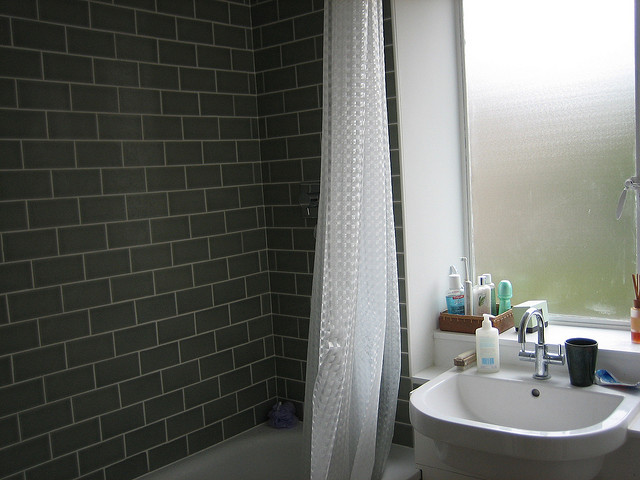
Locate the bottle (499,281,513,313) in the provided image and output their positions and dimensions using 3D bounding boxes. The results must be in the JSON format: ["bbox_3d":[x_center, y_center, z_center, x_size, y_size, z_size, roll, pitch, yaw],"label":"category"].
[{"bbox_3d":[1.050,0.322,2.960,0.062,0.173,0.106,1,11,20],"label":"bottle"}]

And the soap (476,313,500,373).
[{"bbox_3d":[0.840,0.531,2.619,0.107,0.252,0.071,-1,10,12],"label":"soap"}]

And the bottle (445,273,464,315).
[{"bbox_3d":[0.775,0.327,2.976,0.117,0.267,0.069,-10,17,-1],"label":"bottle"}]

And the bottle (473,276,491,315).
[{"bbox_3d":[0.908,0.343,2.944,0.130,0.152,0.050,-7,11,-19],"label":"bottle"}]

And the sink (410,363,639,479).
[{"bbox_3d":[0.880,0.796,2.322,0.850,0.245,0.747,7,15,41],"label":"sink"}]

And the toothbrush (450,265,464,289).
[{"bbox_3d":[0.789,0.238,3.024,0.026,0.204,0.023,0,-16,-21],"label":"toothbrush"}]
